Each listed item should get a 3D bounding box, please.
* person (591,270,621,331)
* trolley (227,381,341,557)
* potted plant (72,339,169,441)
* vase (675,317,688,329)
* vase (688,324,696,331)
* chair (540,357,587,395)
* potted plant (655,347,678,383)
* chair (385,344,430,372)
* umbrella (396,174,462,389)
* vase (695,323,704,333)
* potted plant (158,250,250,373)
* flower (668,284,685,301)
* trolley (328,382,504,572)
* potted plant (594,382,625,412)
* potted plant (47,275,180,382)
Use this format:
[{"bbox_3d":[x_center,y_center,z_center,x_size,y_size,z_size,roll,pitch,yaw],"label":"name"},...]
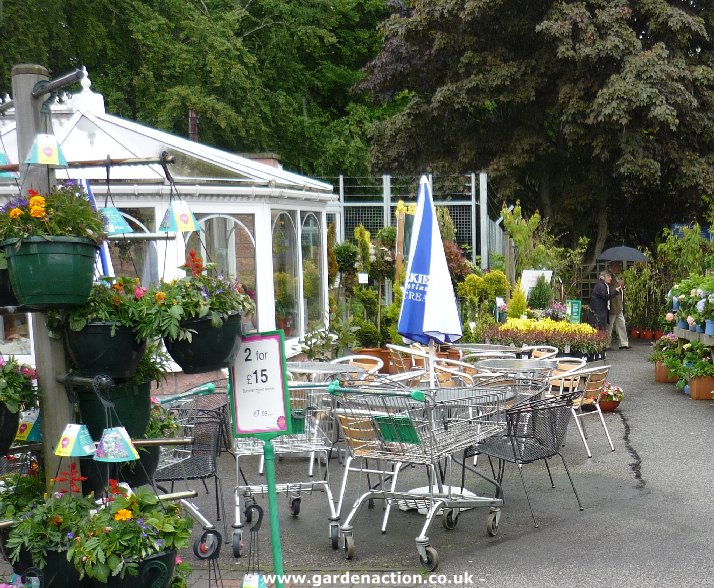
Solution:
[{"bbox_3d":[4.606,0.108,20.758,0.447,1.065,1.036,2,9,20],"label":"person"},{"bbox_3d":[-0.538,1.389,10.077,0.688,1.392,1.062,12,-3,-32],"label":"trolley"},{"bbox_3d":[-1.681,0.683,8.076,0.555,0.523,0.656,-1,-1,-11],"label":"potted plant"},{"bbox_3d":[4.439,0.395,15.129,0.117,0.151,0.128,1,-2,-17],"label":"vase"},{"bbox_3d":[4.472,0.455,14.716,0.060,0.070,0.063,-3,-6,34],"label":"vase"},{"bbox_3d":[2.284,0.917,12.298,0.410,0.602,0.406,-2,-6,33],"label":"chair"},{"bbox_3d":[4.396,1.021,15.805,0.358,0.585,0.496,1,-1,0],"label":"potted plant"},{"bbox_3d":[0.649,0.813,13.972,0.466,0.500,0.471,-1,0,15],"label":"chair"},{"bbox_3d":[0.737,-0.131,11.114,0.620,2.083,0.430,0,7,5],"label":"umbrella"},{"bbox_3d":[4.519,0.439,14.581,0.096,0.126,0.106,2,3,20],"label":"vase"},{"bbox_3d":[-1.065,0.142,7.958,0.635,0.818,0.729,-1,-7,-6],"label":"potted plant"},{"bbox_3d":[4.512,-0.024,15.715,0.273,0.277,0.284,0,2,38],"label":"flower"},{"bbox_3d":[0.585,1.480,9.557,0.925,1.506,1.599,-3,-1,38],"label":"trolley"},{"bbox_3d":[3.159,1.292,13.889,0.345,0.415,0.388,-1,2,-3],"label":"potted plant"},{"bbox_3d":[-1.691,0.269,7.752,0.684,0.725,0.721,-2,-10,15],"label":"potted plant"}]
